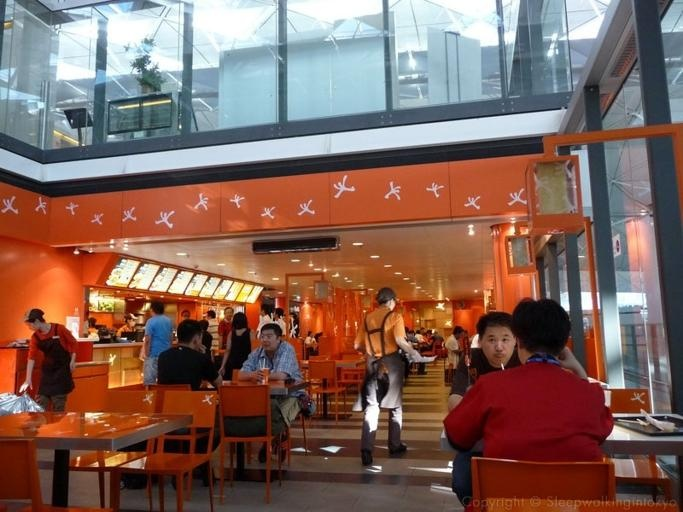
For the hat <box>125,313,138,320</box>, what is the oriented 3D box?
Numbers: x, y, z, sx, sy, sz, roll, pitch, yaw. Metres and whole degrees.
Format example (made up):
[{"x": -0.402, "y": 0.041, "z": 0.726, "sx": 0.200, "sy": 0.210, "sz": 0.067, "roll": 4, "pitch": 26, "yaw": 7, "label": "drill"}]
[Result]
[{"x": -4.832, "y": 1.418, "z": 12.584, "sx": 0.228, "sy": 0.114, "sz": 0.146, "roll": -8, "pitch": 0, "yaw": -6, "label": "hat"}]

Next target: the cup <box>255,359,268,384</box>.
[{"x": -0.750, "y": 1.140, "z": 5.332, "sx": 0.124, "sy": 0.189, "sz": 0.185, "roll": 0, "pitch": -11, "yaw": -7, "label": "cup"}]

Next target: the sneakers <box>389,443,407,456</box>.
[{"x": 0.633, "y": 2.167, "z": 6.170, "sx": 0.077, "sy": 0.160, "sz": 0.234, "roll": 1, "pitch": 2, "yaw": 39, "label": "sneakers"}]

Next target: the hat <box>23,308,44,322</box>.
[{"x": -3.632, "y": 0.697, "z": 6.485, "sx": 0.157, "sy": 0.118, "sz": 0.212, "roll": -2, "pitch": 3, "yaw": -33, "label": "hat"}]

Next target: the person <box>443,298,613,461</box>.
[{"x": 0.920, "y": 0.624, "z": 2.809, "sx": 0.804, "sy": 0.797, "sz": 0.408, "roll": -4, "pitch": -8, "yaw": 25, "label": "person"}]
